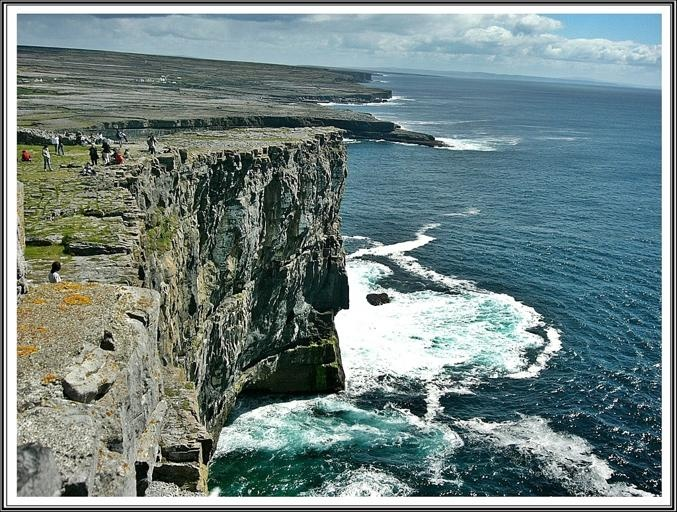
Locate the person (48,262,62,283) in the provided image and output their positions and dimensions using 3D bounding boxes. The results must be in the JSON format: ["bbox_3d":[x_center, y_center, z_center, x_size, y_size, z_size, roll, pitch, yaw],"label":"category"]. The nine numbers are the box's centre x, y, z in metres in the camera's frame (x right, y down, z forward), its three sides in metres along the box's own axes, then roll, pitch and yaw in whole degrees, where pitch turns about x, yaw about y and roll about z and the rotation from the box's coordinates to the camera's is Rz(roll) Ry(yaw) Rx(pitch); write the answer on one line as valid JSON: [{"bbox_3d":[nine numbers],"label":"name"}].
[{"bbox_3d":[-9.522,0.551,19.599,0.427,0.715,1.429,9,-6,-25],"label":"person"}]
